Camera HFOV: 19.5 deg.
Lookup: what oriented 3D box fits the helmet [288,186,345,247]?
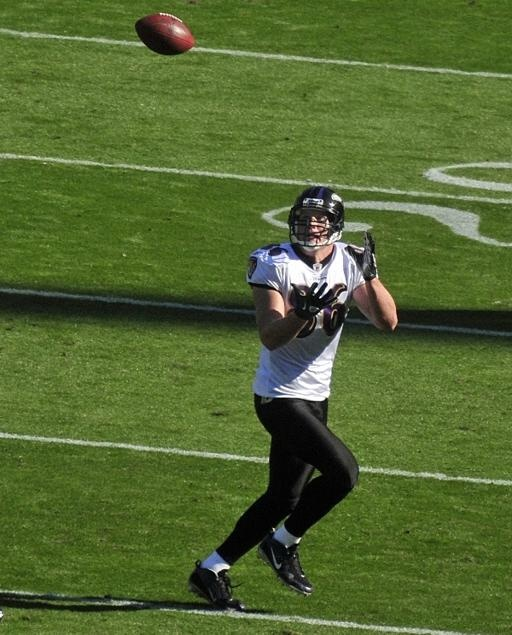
[{"bbox_3d":[0.317,-0.587,9.100,0.331,0.294,0.398,0,-15,8],"label":"helmet"}]

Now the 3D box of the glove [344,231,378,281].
[{"bbox_3d":[0.628,-0.373,9.190,0.130,0.275,0.219,22,50,35],"label":"glove"}]

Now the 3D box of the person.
[{"bbox_3d":[0.241,0.549,9.236,0.885,2.672,0.761,10,13,0],"label":"person"}]

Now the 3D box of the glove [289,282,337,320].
[{"bbox_3d":[0.336,-0.121,8.945,0.275,0.258,0.515,9,12,2],"label":"glove"}]

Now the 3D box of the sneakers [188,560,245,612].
[{"bbox_3d":[-0.204,1.694,9.301,0.406,0.242,0.131,28,32,33],"label":"sneakers"}]
